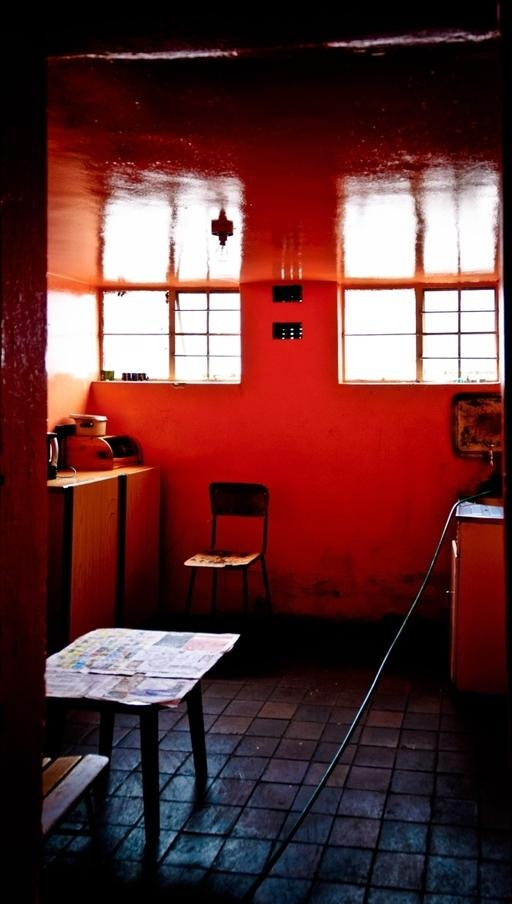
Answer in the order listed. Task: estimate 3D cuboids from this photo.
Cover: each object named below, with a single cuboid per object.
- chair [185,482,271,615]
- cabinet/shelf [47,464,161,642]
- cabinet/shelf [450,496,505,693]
[{"bbox_3d":[-0.171,0.635,4.554,0.515,0.863,0.778,0,1,0],"label":"chair"},{"bbox_3d":[-0.919,0.534,4.317,0.330,0.835,1.266,3,6,13],"label":"cabinet/shelf"},{"bbox_3d":[1.059,0.745,3.472,0.243,0.893,0.623,0,1,16],"label":"cabinet/shelf"}]
